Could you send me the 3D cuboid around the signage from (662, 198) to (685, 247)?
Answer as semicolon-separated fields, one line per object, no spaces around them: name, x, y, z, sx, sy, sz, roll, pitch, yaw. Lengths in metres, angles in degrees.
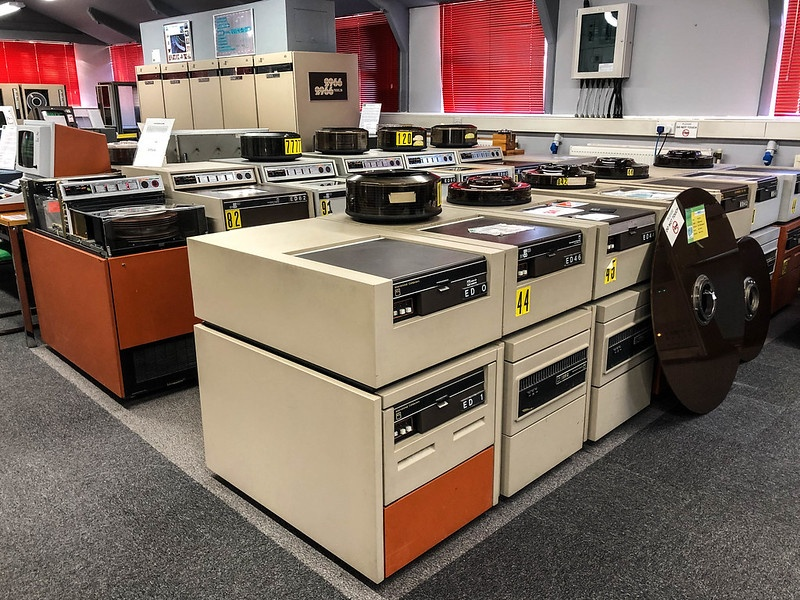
signage;1.286;-0.358;2.313;0.023;0.169;0.230;17;2;39
